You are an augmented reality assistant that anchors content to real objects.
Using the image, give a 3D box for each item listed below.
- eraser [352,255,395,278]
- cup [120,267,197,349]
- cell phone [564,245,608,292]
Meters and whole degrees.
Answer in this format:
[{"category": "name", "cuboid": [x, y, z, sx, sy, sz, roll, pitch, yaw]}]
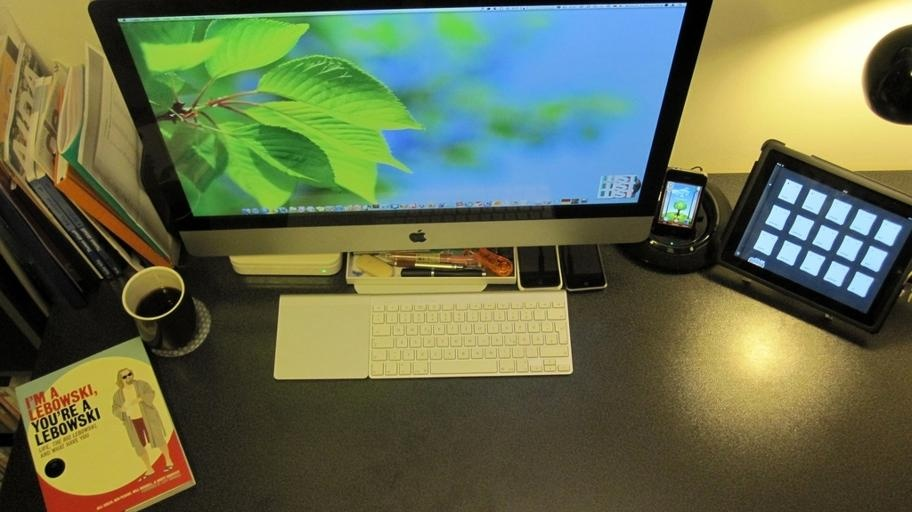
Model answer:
[{"category": "eraser", "cuboid": [-0.192, 0.022, 1.486, 0.093, 0.020, 0.040, 22, 74, 1]}, {"category": "cup", "cuboid": [-0.645, 0.113, 1.466, 0.146, 0.193, 0.199, -3, 70, -16]}, {"category": "cell phone", "cuboid": [0.312, 0.025, 1.520, 0.085, 0.134, 0.124, -3, 82, 3]}]
